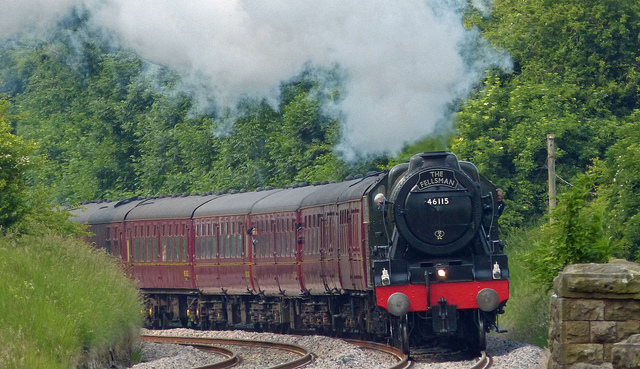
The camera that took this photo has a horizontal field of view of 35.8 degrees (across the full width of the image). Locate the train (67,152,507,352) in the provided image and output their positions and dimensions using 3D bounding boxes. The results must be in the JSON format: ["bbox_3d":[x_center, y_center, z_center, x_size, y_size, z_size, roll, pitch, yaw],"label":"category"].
[{"bbox_3d":[-3.878,2.763,40.102,9.462,7.718,23.163,-9,7,-35],"label":"train"}]
